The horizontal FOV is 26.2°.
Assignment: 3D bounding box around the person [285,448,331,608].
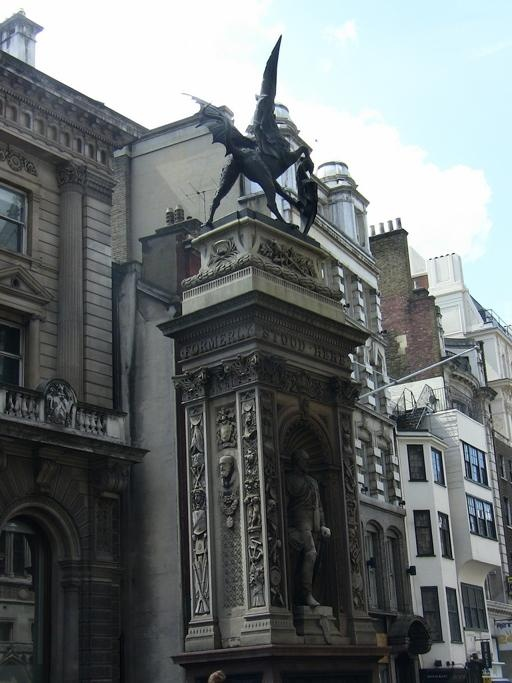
[{"bbox_3d":[1.059,3.909,23.076,0.638,3.317,1.006,-15,-23,29],"label":"person"}]
